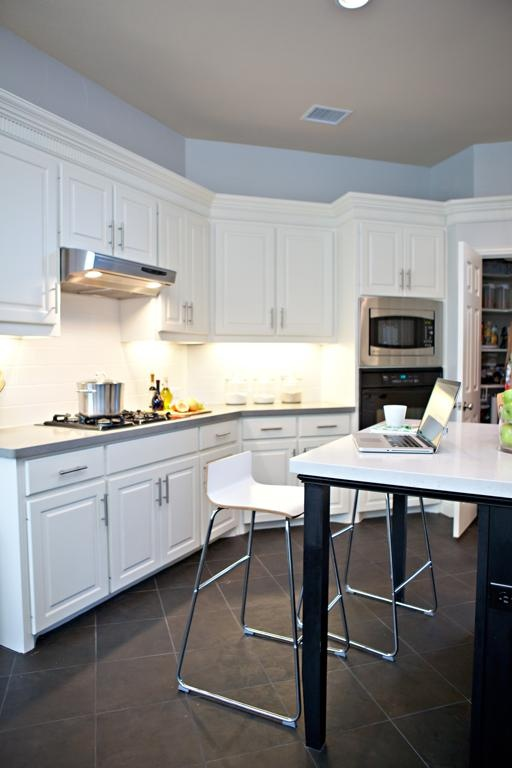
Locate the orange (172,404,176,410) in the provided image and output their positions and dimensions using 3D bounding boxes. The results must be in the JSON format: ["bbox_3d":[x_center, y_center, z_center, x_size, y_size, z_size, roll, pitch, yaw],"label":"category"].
[{"bbox_3d":[-0.472,0.131,3.188,0.020,0.033,0.032,-1,2,-22],"label":"orange"}]

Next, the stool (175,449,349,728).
[{"bbox_3d":[0.043,0.602,2.287,0.662,1.167,0.768,1,3,24],"label":"stool"}]

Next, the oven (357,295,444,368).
[{"bbox_3d":[0.990,-0.343,4.010,0.574,0.472,0.329,0,0,-6],"label":"oven"}]

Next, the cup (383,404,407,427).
[{"bbox_3d":[0.504,0.112,2.014,0.077,0.071,0.088,-2,-1,1],"label":"cup"}]

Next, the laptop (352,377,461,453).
[{"bbox_3d":[0.458,0.126,1.716,0.233,0.184,0.286,0,1,8],"label":"laptop"}]

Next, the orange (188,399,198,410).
[{"bbox_3d":[-0.365,0.124,3.284,0.046,0.051,0.065,6,-30,3],"label":"orange"}]
